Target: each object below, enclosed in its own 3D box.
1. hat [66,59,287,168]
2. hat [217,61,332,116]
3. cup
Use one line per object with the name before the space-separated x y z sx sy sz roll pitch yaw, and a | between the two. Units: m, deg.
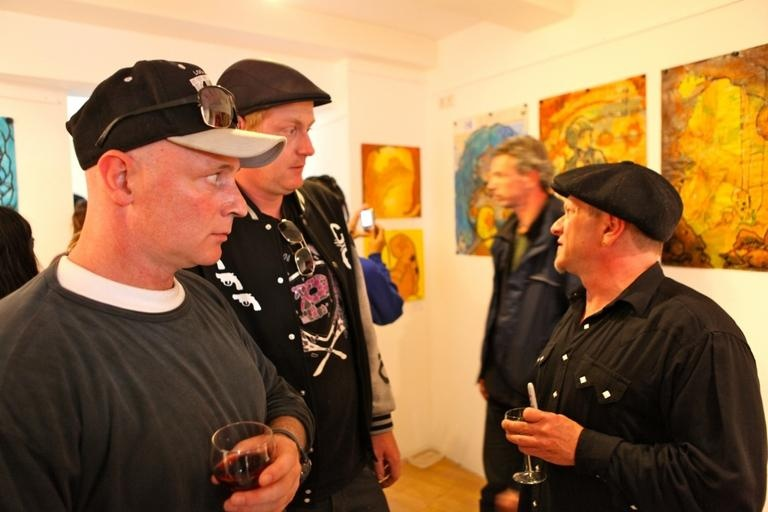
hat | -0.733 -0.476 2.346 0.647 0.287 0.395 -4 4 -6
hat | -0.487 -0.736 2.927 0.431 0.170 0.272 -4 16 11
cup | -0.465 0.682 2.316 0.253 0.225 0.244 -2 1 0
